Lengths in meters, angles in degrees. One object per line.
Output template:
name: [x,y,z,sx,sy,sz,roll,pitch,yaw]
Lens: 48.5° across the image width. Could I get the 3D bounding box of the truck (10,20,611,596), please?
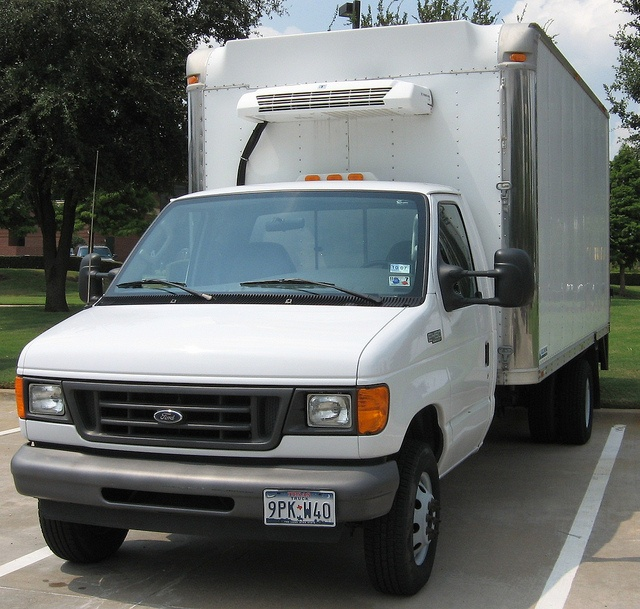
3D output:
truck: [0.336,-0.353,5.636,2.515,3.443,5.400,0,1,26]
